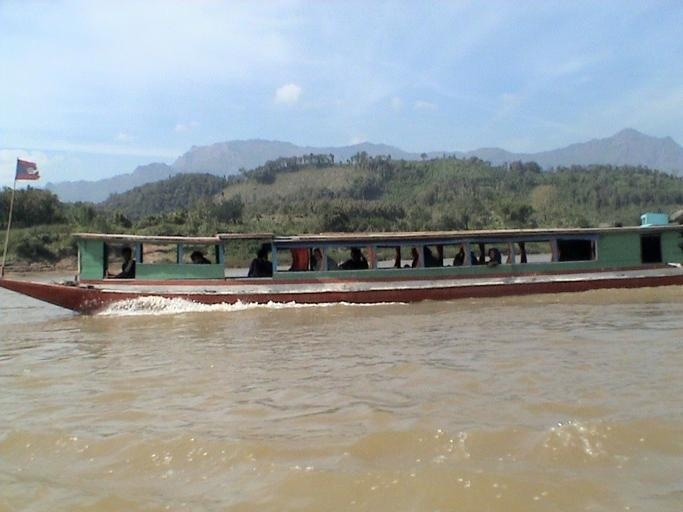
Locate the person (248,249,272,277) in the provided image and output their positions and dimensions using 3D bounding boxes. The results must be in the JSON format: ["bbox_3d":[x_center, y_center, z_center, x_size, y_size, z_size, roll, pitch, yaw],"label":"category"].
[{"bbox_3d":[-2.848,0.247,23.863,0.832,0.805,1.245,-4,12,-8],"label":"person"}]

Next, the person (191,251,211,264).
[{"bbox_3d":[-4.859,0.008,23.638,0.663,0.410,0.421,-6,12,-16],"label":"person"}]

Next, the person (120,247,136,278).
[{"bbox_3d":[-7.185,0.222,23.068,0.483,0.972,0.960,-6,12,-18],"label":"person"}]
